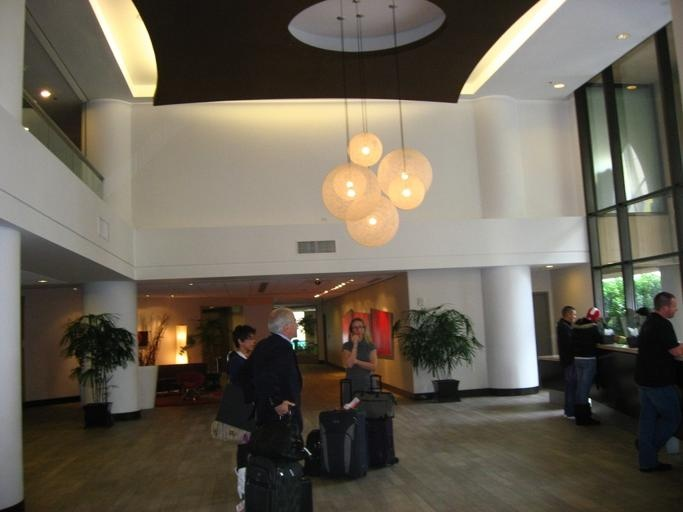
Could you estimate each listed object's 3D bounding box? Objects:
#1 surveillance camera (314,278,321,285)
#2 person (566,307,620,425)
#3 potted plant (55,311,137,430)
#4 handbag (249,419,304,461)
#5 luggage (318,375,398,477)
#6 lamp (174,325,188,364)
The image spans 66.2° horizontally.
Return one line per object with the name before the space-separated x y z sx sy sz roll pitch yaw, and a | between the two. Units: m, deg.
surveillance camera | -0.661 0.724 14.323 0.232 0.061 0.225 -3 -32 1
person | 4.252 1.937 9.025 0.556 1.748 0.944 -5 -5 27
potted plant | -5.222 2.414 11.280 1.411 2.359 1.344 -1 -5 -16
handbag | -0.641 1.822 5.160 0.455 0.499 0.214 0 -2 23
luggage | 0.242 2.405 7.105 0.760 1.166 1.108 -6 -12 28
lamp | -5.283 2.879 17.275 0.399 1.206 0.412 -1 -5 -20
